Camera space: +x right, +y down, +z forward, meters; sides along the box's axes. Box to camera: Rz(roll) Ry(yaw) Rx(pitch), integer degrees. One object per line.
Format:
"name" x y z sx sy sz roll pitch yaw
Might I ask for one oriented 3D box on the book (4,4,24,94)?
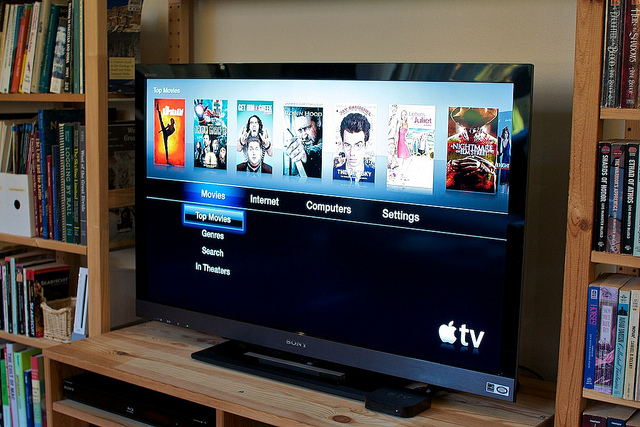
"book" -1.350 -0.739 2.492 0.047 0.327 0.294 13 27 -16

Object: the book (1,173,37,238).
"book" -1.332 -0.046 2.505 0.156 0.261 0.280 -2 6 -41

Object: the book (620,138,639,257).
"book" 0.880 -0.043 1.606 0.049 0.312 0.120 7 17 25

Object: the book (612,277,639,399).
"book" 0.867 0.367 1.627 0.047 0.310 0.103 7 17 27

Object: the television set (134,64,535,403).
"television set" 0.097 0.073 1.983 1.300 0.837 0.068 6 7 30

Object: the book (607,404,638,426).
"book" 0.894 0.598 1.678 0.076 0.039 0.069 -6 -5 -42

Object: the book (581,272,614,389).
"book" 0.793 0.350 1.659 0.058 0.234 0.242 3 6 16

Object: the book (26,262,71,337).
"book" -1.300 0.396 2.560 0.200 0.323 0.253 -4 -3 18

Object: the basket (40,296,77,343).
"basket" -1.154 0.475 2.478 0.189 0.192 0.048 6 9 28
